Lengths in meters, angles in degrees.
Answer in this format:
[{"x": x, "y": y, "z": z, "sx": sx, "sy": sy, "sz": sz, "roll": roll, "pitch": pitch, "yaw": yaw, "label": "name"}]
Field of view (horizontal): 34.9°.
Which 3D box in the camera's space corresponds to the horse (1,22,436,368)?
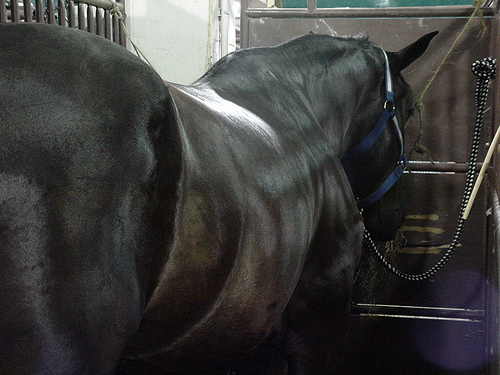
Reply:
[{"x": -0.075, "y": 0.002, "z": 2.420, "sx": 0.352, "sy": 1.118, "sz": 1.418, "roll": -10, "pitch": -10, "yaw": 44, "label": "horse"}]
